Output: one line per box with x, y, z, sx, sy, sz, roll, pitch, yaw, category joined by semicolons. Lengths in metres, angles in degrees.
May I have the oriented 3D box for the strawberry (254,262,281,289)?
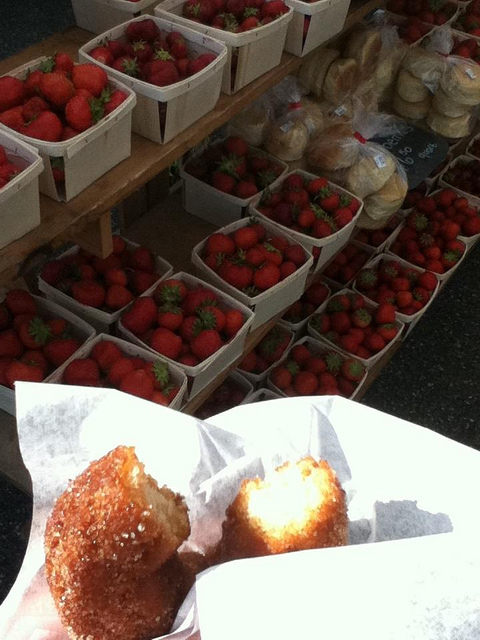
0.110;-0.155;1.891;0.085;0.043;0.085;22;63;40;strawberry

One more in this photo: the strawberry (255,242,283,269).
0.113;-0.242;1.924;0.105;0.088;0.085;-16;8;6;strawberry

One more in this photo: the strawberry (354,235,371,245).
0.695;-0.455;2.946;0.061;0.032;0.061;33;32;12;strawberry

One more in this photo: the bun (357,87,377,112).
0.702;-1.186;2.890;0.041;0.150;0.151;23;59;-5;bun

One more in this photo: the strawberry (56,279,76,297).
-0.557;-0.109;1.683;0.059;0.054;0.054;-16;40;-10;strawberry

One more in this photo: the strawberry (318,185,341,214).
0.365;-0.494;2.157;0.097;0.110;0.103;14;19;38;strawberry

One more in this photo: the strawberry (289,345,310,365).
0.283;0.158;2.436;0.075;0.090;0.073;-5;33;-5;strawberry

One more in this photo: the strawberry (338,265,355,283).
0.570;-0.249;2.827;0.074;0.070;0.095;-6;16;-11;strawberry

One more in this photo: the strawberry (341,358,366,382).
0.519;0.226;2.393;0.104;0.059;0.098;29;86;-11;strawberry

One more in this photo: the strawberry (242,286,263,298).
0.043;-0.100;1.850;0.050;0.020;0.042;6;90;-21;strawberry

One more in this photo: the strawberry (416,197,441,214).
1.117;-0.673;3.084;0.118;0.068;0.075;7;87;-13;strawberry

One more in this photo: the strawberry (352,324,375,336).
0.630;0.058;2.629;0.078;0.059;0.064;23;50;-5;strawberry

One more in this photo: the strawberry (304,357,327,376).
0.347;0.208;2.392;0.093;0.068;0.067;7;83;-15;strawberry

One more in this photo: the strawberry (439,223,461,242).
1.185;-0.500;2.960;0.054;0.087;0.114;26;53;-33;strawberry

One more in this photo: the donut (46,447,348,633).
-0.040;0.223;0.567;0.324;0.093;0.166;-5;49;-12;donut

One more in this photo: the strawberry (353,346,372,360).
0.590;0.156;2.511;0.056;0.034;0.065;5;12;6;strawberry

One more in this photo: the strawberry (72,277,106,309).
-0.472;-0.088;1.694;0.092;0.094;0.047;35;90;-4;strawberry

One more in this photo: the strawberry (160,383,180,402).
-0.197;0.216;1.530;0.047;0.046;0.043;31;86;-2;strawberry

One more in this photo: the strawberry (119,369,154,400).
-0.288;0.183;1.467;0.095;0.066;0.098;-6;49;-13;strawberry

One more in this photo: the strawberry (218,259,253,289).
-0.021;-0.164;1.890;0.102;0.098;0.101;12;16;-8;strawberry

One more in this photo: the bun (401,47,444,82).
1.050;-1.454;2.994;0.238;0.120;0.151;18;48;9;bun

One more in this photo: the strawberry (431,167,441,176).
1.251;-0.943;3.321;0.015;0.044;0.106;39;54;24;strawberry

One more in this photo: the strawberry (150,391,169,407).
-0.224;0.222;1.478;0.049;0.037;0.036;31;71;4;strawberry

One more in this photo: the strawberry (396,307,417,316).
0.860;-0.045;2.690;0.083;0.037;0.038;3;93;16;strawberry

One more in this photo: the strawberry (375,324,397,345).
0.723;0.067;2.575;0.112;0.087;0.077;13;48;4;strawberry

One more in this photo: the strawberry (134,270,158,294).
-0.325;-0.134;1.820;0.082;0.058;0.060;-12;14;-43;strawberry

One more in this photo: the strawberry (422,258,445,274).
1.065;-0.297;2.869;0.082;0.076;0.102;5;18;-6;strawberry

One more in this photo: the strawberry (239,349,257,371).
0.047;0.175;2.312;0.051;0.069;0.086;2;82;41;strawberry

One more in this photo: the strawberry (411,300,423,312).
0.922;-0.075;2.722;0.056;0.052;0.062;-11;15;14;strawberry

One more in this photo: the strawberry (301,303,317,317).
0.347;-0.048;2.600;0.066;0.062;0.060;-7;90;10;strawberry

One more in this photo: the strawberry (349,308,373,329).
0.599;-0.010;2.631;0.100;0.113;0.097;-2;79;-12;strawberry

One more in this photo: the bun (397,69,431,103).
0.995;-1.345;3.031;0.166;0.174;0.178;-11;36;16;bun

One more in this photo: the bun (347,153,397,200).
0.626;-0.709;2.548;0.243;0.117;0.313;-13;23;7;bun

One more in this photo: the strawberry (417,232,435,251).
1.054;-0.449;2.967;0.092;0.086;0.090;-20;56;11;strawberry

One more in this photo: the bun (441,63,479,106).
1.283;-1.347;2.994;0.231;0.179;0.158;-23;55;-26;bun

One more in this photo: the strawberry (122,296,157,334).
-0.307;-0.013;1.626;0.123;0.090;0.069;-41;95;-27;strawberry

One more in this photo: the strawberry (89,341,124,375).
-0.378;0.109;1.524;0.082;0.084;0.096;3;52;-10;strawberry

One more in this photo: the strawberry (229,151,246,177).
-0.014;-0.663;2.221;0.076;0.077;0.083;-33;25;10;strawberry

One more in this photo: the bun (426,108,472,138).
1.253;-1.167;3.133;0.197;0.107;0.184;-1;50;0;bun

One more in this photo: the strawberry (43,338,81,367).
-0.512;0.097;1.503;0.081;0.079;0.078;-6;77;-17;strawberry

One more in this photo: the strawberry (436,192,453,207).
1.218;-0.713;3.110;0.075;0.053;0.095;-19;37;18;strawberry

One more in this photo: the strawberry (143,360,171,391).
-0.234;0.168;1.556;0.085;0.080;0.072;23;66;-23;strawberry

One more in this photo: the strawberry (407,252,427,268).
0.989;-0.339;2.955;0.092;0.083;0.082;-16;90;-1;strawberry

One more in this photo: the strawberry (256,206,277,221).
0.107;-0.442;2.146;0.071;0.061;0.067;5;43;11;strawberry

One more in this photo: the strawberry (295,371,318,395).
0.312;0.288;2.367;0.095;0.092;0.103;5;64;11;strawberry

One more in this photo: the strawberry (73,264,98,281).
-0.506;-0.162;1.736;0.060;0.052;0.073;-9;15;-4;strawberry

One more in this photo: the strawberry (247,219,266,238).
0.063;-0.350;2.008;0.047;0.053;0.071;-35;27;19;strawberry

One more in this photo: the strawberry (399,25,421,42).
1.018;-1.701;3.106;0.110;0.086;0.058;-7;41;-16;strawberry

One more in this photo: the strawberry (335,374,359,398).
0.490;0.304;2.384;0.100;0.068;0.117;6;79;-7;strawberry

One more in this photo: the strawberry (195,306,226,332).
-0.084;-0.004;1.652;0.081;0.118;0.081;-8;92;15;strawberry

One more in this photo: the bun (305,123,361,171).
0.470;-0.797;2.466;0.261;0.148;0.204;-16;59;-9;bun
